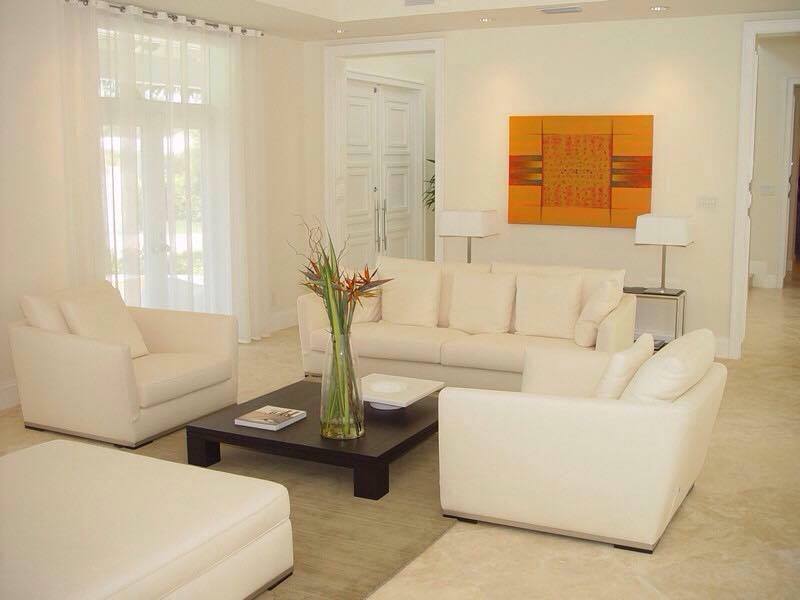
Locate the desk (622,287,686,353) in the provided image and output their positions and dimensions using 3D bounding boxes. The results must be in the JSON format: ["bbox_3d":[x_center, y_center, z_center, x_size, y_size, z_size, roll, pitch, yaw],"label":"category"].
[{"bbox_3d":[2.298,0.148,5.396,0.590,0.559,0.329,4,7,43],"label":"desk"}]

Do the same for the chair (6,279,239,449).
[{"bbox_3d":[-1.935,0.410,4.496,1.268,1.011,1.357,4,9,25],"label":"chair"}]

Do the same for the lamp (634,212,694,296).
[{"bbox_3d":[2.623,-0.452,6.015,0.503,0.765,0.586,5,13,26],"label":"lamp"}]

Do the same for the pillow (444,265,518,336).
[{"bbox_3d":[0.722,0.011,5.166,0.515,0.480,0.278,7,-14,30],"label":"pillow"}]

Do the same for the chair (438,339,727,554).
[{"bbox_3d":[0.913,0.545,3.101,1.138,0.858,1.094,3,8,25],"label":"chair"}]

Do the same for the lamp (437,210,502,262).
[{"bbox_3d":[0.754,-0.676,6.449,0.567,0.574,0.826,2,12,12],"label":"lamp"}]

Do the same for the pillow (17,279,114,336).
[{"bbox_3d":[-2.408,0.036,4.401,0.454,0.139,0.468,34,35,24],"label":"pillow"}]
